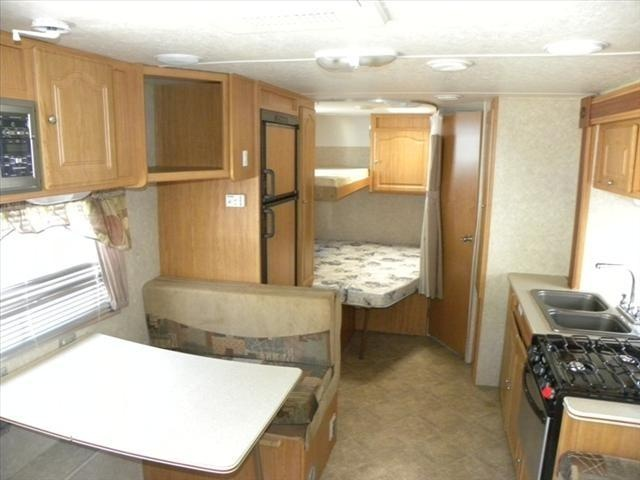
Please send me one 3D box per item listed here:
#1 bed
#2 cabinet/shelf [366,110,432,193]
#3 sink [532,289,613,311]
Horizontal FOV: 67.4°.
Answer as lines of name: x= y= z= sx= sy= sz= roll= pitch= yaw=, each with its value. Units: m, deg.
bed: x=0.453 y=0.699 z=5.030 sx=1.087 sy=0.509 sz=1.489 roll=2 pitch=8 yaw=15
cabinet/shelf: x=0.929 y=-1.021 z=5.617 sx=0.691 sy=0.910 sz=0.308 roll=0 pitch=15 yaw=5
sink: x=1.798 y=0.436 z=3.440 sx=0.273 sy=0.090 sz=0.214 roll=2 pitch=12 yaw=20
